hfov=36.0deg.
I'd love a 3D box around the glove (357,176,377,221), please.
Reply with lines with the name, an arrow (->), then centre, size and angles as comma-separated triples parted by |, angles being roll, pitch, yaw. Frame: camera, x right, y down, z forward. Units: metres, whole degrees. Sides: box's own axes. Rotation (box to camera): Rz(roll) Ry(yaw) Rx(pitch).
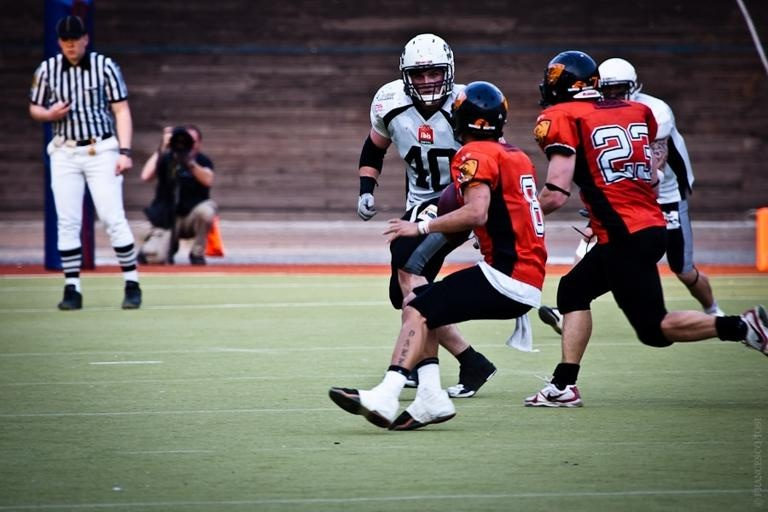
glove -> -0.140, -0.449, 9.415 | 0.163, 0.117, 0.444 | 14, 37, 2

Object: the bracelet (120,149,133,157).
bracelet -> -2.556, -1.021, 11.712 | 0.089, 0.083, 0.139 | -1, 4, -22

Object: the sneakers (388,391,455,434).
sneakers -> 0.281, 1.045, 8.039 | 0.596, 0.209, 0.186 | -18, -3, 17

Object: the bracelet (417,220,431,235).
bracelet -> 0.265, -0.191, 7.905 | 0.079, 0.050, 0.087 | 3, 7, 13

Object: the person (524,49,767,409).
person -> 1.722, -0.004, 8.378 | 1.397, 2.185, 0.364 | 1, 5, 5

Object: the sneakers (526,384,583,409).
sneakers -> 1.215, 1.013, 8.529 | 0.439, 0.146, 0.148 | 1, -1, 1

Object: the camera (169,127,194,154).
camera -> -2.389, -1.362, 14.026 | 0.306, 0.296, 0.251 | -4, 16, -16

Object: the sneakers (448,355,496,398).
sneakers -> 0.649, 0.911, 8.815 | 0.373, 0.236, 0.125 | -35, 12, 14

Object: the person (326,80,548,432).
person -> 0.463, -0.001, 7.980 | 1.265, 2.358, 0.474 | 0, 4, -5

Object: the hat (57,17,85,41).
hat -> -3.025, -2.222, 11.543 | 0.246, 0.257, 0.238 | 0, 4, -13

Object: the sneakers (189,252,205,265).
sneakers -> -2.459, 0.052, 15.653 | 0.225, 0.228, 0.147 | -4, 20, -9

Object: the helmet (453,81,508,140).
helmet -> 0.625, -1.010, 8.146 | 0.422, 0.348, 0.409 | 2, 25, -3

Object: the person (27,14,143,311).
person -> -2.936, -0.899, 11.763 | 1.048, 2.896, 0.468 | 0, 5, -11

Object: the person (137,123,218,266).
person -> -2.617, -0.720, 14.988 | 0.964, 1.784, 1.265 | 0, 4, -10
